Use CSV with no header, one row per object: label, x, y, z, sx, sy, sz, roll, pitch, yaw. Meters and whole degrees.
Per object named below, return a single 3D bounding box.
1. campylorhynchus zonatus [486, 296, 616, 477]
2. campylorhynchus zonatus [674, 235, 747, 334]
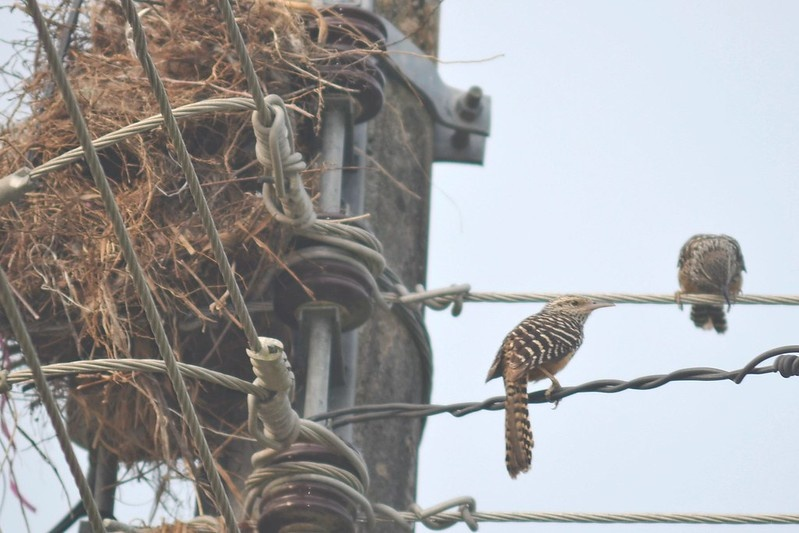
campylorhynchus zonatus,1.001,0.768,16.944,0.724,1.912,0.531,3,-41,2
campylorhynchus zonatus,2.311,0.054,17.472,0.626,0.861,1.961,-1,3,3
